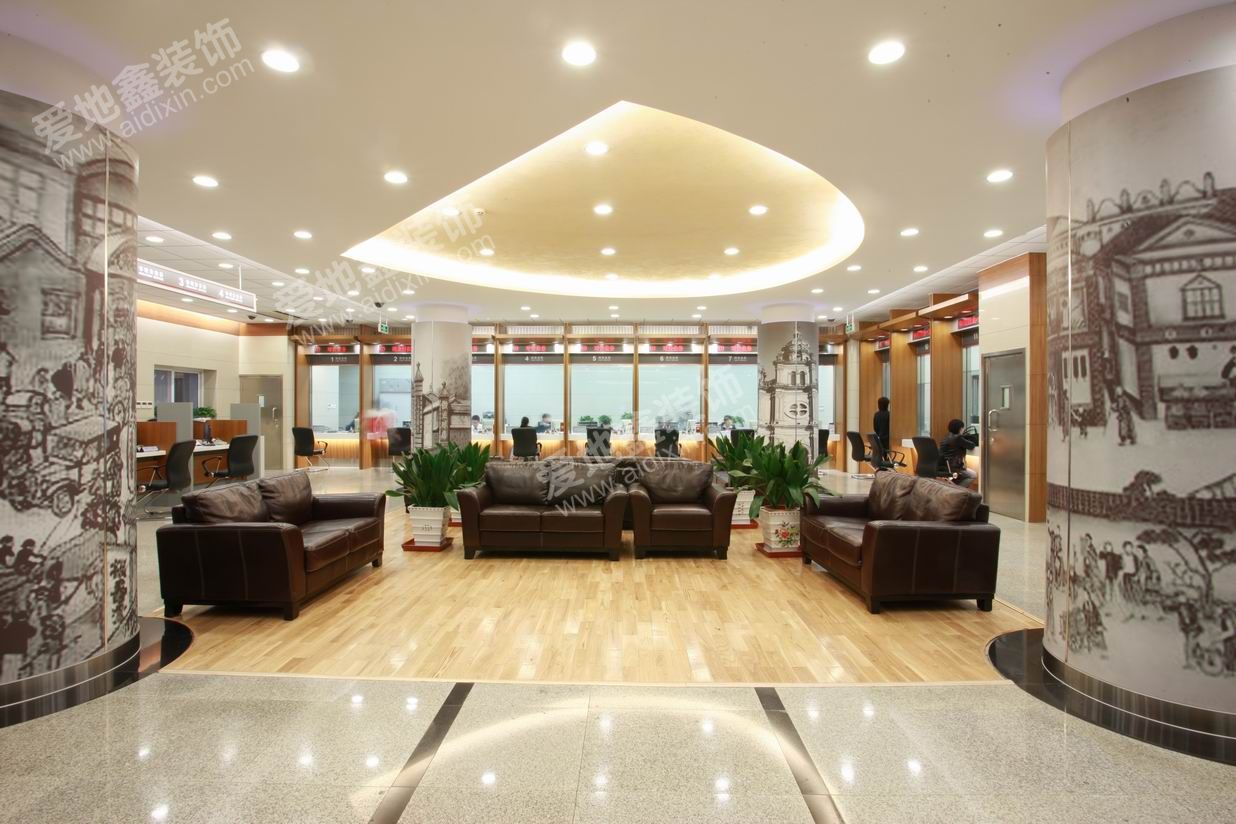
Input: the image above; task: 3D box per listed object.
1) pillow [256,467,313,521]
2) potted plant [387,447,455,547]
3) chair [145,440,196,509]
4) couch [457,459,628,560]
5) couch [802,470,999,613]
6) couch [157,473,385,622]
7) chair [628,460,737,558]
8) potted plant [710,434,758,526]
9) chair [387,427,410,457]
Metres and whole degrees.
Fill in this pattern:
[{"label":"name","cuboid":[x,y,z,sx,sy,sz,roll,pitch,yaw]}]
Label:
[{"label":"pillow","cuboid":[-3.489,0.953,7.651,0.289,0.570,0.826,7,4,6]},{"label":"potted plant","cuboid":[-2.376,1.027,8.973,0.772,1.201,0.813,15,-7,-23]},{"label":"chair","cuboid":[-6.531,0.883,10.585,0.439,0.643,0.439,18,7,32]},{"label":"couch","cuboid":[-0.842,1.127,8.734,1.964,1.142,1.062,0,-3,1]},{"label":"couch","cuboid":[2.796,1.132,7.348,1.309,1.126,1.646,-1,13,-4]},{"label":"couch","cuboid":[-3.391,1.211,7.197,1.362,1.210,1.678,2,13,8]},{"label":"chair","cuboid":[0.705,1.113,8.482,1.175,1.008,1.093,0,-5,0]},{"label":"potted plant","cuboid":[1.589,0.926,9.550,0.775,1.170,0.807,0,-11,19]},{"label":"chair","cuboid":[-4.952,0.657,16.444,0.654,0.632,0.474,1,6,1]}]
